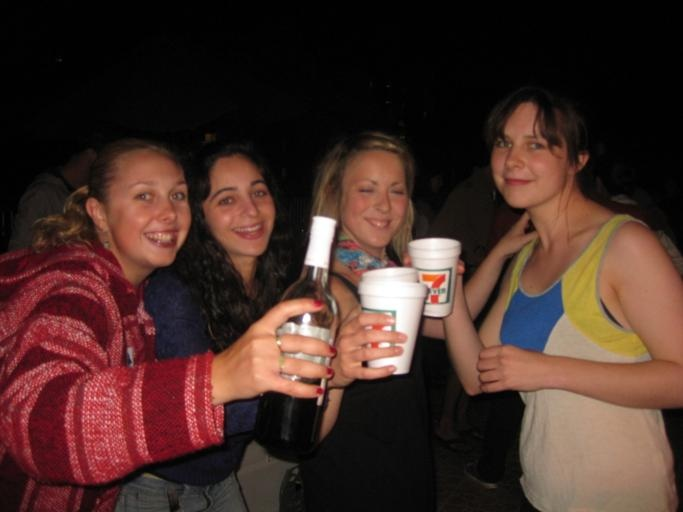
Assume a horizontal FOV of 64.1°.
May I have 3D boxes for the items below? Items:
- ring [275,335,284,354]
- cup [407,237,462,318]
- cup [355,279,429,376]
[{"bbox_3d":[-0.258,0.371,2.255,0.023,0.058,0.046,-8,16,-8],"label":"ring"},{"bbox_3d":[0.472,0.127,3.048,0.441,0.477,0.408,0,-2,0],"label":"cup"},{"bbox_3d":[0.188,0.377,2.707,0.447,0.452,0.415,2,-12,0],"label":"cup"}]
